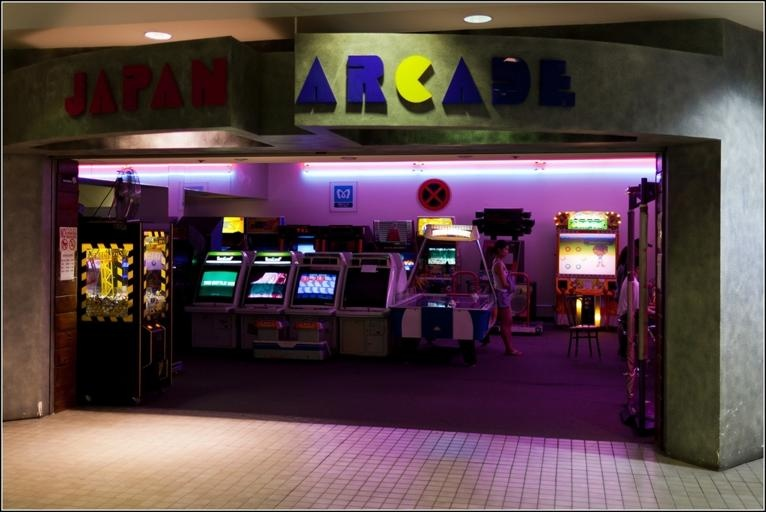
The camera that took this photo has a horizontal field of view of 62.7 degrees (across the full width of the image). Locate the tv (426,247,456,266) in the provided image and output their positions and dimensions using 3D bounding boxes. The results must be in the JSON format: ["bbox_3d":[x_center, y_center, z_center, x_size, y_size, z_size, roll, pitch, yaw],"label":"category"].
[{"bbox_3d":[1.234,0.003,13.370,0.706,0.361,0.457,3,9,3],"label":"tv"}]

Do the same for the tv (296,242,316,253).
[{"bbox_3d":[-1.696,-0.215,13.752,0.477,0.154,0.072,3,7,20],"label":"tv"}]

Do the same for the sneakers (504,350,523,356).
[{"bbox_3d":[2.175,1.623,10.549,0.222,0.152,0.107,-3,-2,10],"label":"sneakers"}]
